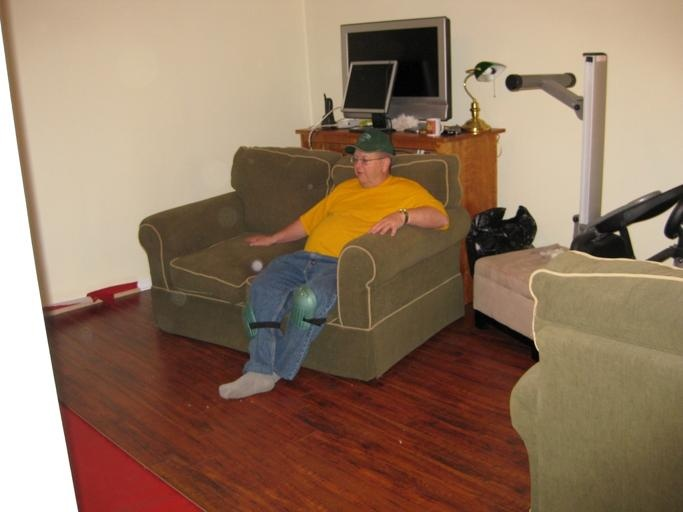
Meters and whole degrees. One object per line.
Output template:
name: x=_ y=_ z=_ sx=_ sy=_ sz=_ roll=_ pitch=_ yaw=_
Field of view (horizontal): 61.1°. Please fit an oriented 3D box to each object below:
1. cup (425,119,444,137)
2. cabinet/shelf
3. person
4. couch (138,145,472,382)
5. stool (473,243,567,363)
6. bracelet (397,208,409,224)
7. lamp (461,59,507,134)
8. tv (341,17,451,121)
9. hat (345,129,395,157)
cup: x=0.558 y=-0.764 z=3.505 sx=0.121 sy=0.109 sz=0.078 roll=9 pitch=16 yaw=30
cabinet/shelf: x=0.401 y=-0.564 z=4.094 sx=1.566 sy=1.540 sz=1.022 roll=8 pitch=15 yaw=34
person: x=-0.109 y=0.003 z=2.905 sx=1.086 sy=1.359 sz=1.029 roll=-2 pitch=6 yaw=-43
couch: x=-0.045 y=0.224 z=3.341 sx=1.736 sy=1.128 sz=1.251 roll=8 pitch=18 yaw=31
stool: x=0.984 y=0.283 z=3.189 sx=0.562 sy=0.388 sz=0.557 roll=-25 pitch=32 yaw=-37
bracelet: x=0.299 y=-0.181 z=2.729 sx=0.045 sy=0.067 sz=0.072 roll=2 pitch=16 yaw=5
lamp: x=0.878 y=-0.989 z=3.610 sx=0.229 sy=0.423 sz=0.500 roll=3 pitch=17 yaw=11
tv: x=0.385 y=-1.218 z=3.784 sx=0.774 sy=0.590 sz=0.082 roll=12 pitch=28 yaw=38
hat: x=0.157 y=-0.562 z=2.950 sx=0.234 sy=0.120 sz=0.163 roll=-13 pitch=21 yaw=-42
